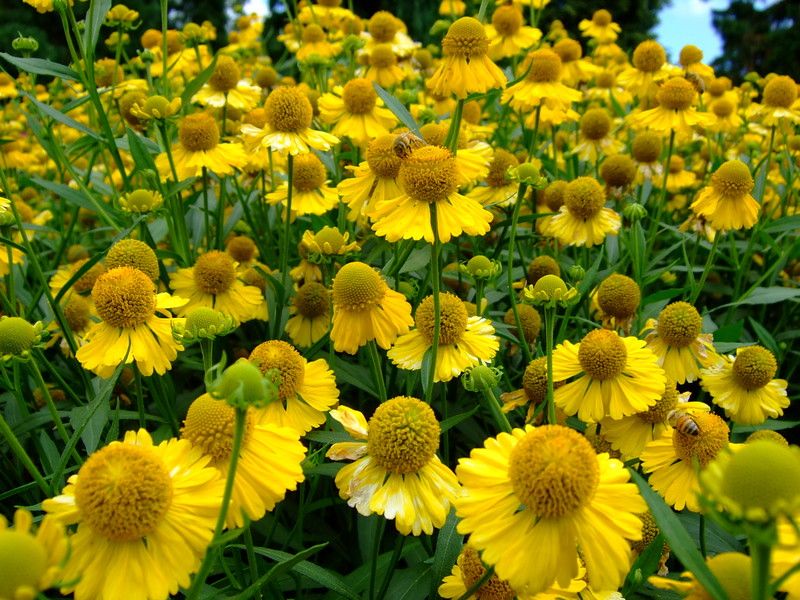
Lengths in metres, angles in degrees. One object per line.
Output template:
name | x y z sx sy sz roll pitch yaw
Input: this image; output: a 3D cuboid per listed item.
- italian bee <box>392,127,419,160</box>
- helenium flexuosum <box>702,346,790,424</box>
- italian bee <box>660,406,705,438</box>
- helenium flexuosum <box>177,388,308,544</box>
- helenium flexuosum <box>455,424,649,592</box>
italian bee | 0.027 -0.515 2.297 0.106 0.089 0.117 -2 19 -22
helenium flexuosum | 1.334 0.276 2.591 0.324 0.173 0.362 -2 30 11
italian bee | 0.910 0.392 2.181 0.064 0.031 0.082 -35 37 -1
helenium flexuosum | -0.420 0.455 1.903 0.345 0.156 0.373 7 46 -4
helenium flexuosum | 0.392 0.643 1.849 0.422 0.203 0.447 -32 62 -23
